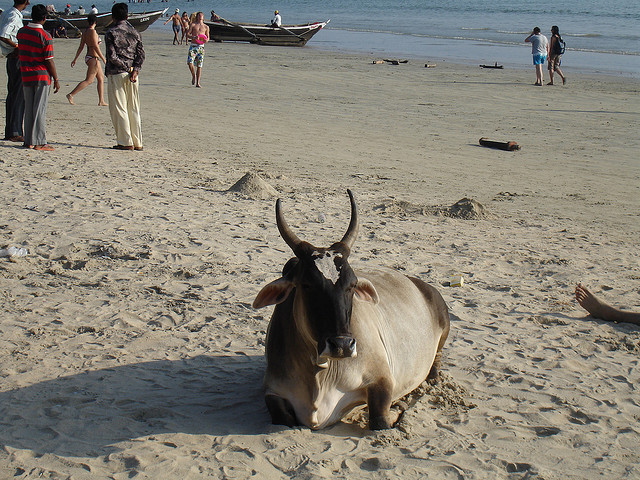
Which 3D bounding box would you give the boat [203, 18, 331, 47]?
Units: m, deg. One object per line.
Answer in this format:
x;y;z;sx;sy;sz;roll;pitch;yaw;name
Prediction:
-2.977;-10.756;39.080;4.259;0.861;3.403;1;18;-2;boat

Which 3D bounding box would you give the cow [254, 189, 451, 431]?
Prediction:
0.308;0.589;6.776;1.011;2.050;1.673;11;22;38;cow

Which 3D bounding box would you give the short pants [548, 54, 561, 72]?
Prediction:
8.044;-6.028;25.484;0.257;0.544;0.754;5;18;24;short pants

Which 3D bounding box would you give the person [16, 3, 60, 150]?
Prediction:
-5.050;-2.818;13.333;0.519;2.541;1.030;-21;25;-40;person

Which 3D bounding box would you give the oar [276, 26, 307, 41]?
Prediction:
-1.489;-10.696;38.951;1.569;0.715;0.192;-13;21;-34;oar
